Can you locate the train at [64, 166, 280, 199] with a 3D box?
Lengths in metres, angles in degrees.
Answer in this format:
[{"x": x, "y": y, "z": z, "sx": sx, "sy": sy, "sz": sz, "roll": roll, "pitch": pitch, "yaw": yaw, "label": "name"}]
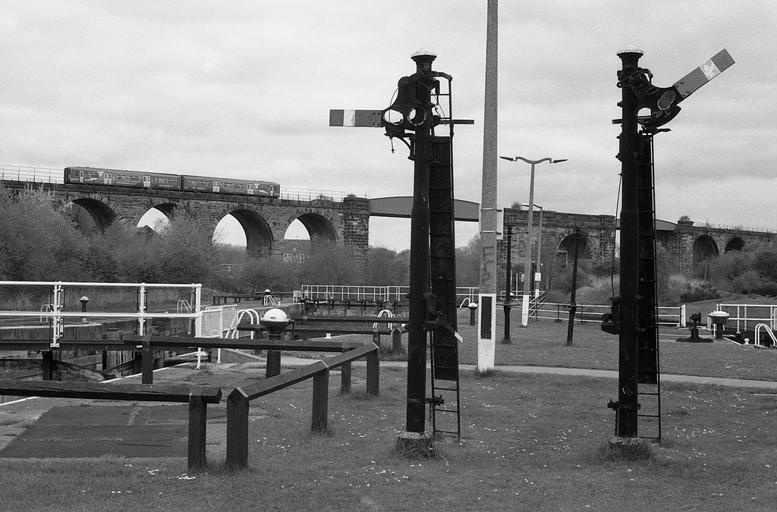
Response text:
[{"x": -16.596, "y": -5.611, "z": 81.176, "sx": 1.886, "sy": 2.127, "sz": 19.251, "roll": 7, "pitch": 8, "yaw": 38, "label": "train"}]
